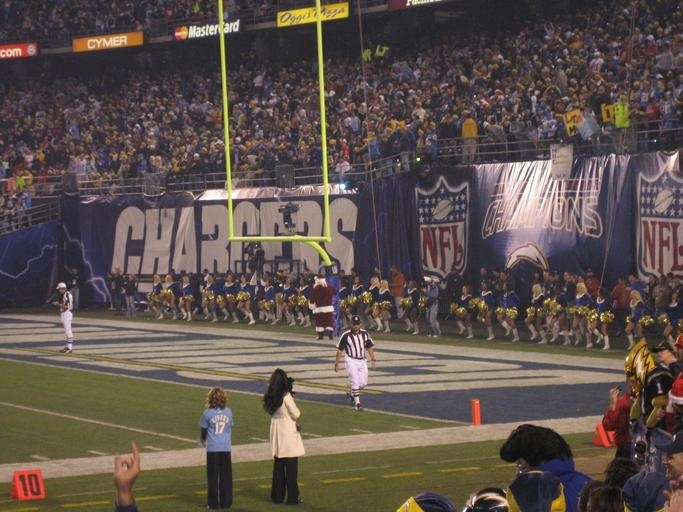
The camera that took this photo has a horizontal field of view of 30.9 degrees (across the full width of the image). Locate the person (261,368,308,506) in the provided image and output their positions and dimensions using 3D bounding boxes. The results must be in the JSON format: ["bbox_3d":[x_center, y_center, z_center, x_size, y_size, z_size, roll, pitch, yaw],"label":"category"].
[{"bbox_3d":[-1.111,3.463,23.730,0.714,2.531,0.799,-2,1,-12],"label":"person"}]

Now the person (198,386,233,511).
[{"bbox_3d":[-2.409,3.689,23.623,0.593,1.515,0.776,-2,1,-6],"label":"person"}]

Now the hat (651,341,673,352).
[{"bbox_3d":[5.737,1.623,21.963,0.242,0.178,0.449,-2,1,-11],"label":"hat"}]

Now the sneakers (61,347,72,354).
[{"bbox_3d":[-8.257,2.804,36.627,0.336,0.148,0.133,3,1,26],"label":"sneakers"}]
